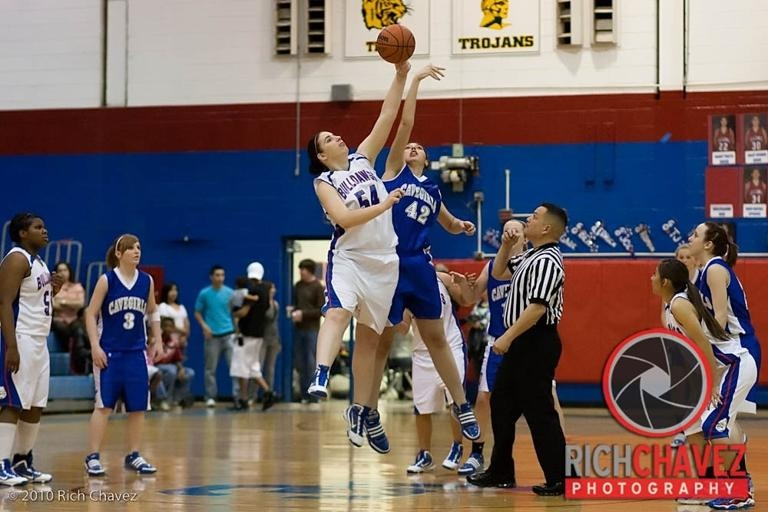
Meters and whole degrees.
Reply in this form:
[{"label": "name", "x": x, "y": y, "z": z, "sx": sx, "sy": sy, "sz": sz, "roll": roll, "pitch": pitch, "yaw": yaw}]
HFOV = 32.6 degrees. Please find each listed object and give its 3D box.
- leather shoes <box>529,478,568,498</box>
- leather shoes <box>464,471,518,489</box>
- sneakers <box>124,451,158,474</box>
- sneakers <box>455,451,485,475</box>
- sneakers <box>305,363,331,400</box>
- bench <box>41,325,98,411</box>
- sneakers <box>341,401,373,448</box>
[{"label": "leather shoes", "x": 1.968, "y": 2.753, "z": 15.582, "sx": 0.448, "sy": 0.204, "sz": 0.155, "roll": 3, "pitch": -3, "yaw": 2}, {"label": "leather shoes", "x": 1.305, "y": 2.692, "z": 15.905, "sx": 0.592, "sy": 0.274, "sz": 0.224, "roll": 8, "pitch": -8, "yaw": 2}, {"label": "sneakers", "x": -3.023, "y": 2.597, "z": 16.607, "sx": 0.490, "sy": 0.257, "sz": 0.203, "roll": 6, "pitch": 2, "yaw": 19}, {"label": "sneakers", "x": 1.118, "y": 2.597, "z": 16.387, "sx": 0.146, "sy": 0.187, "sz": 0.425, "roll": -4, "pitch": -11, "yaw": 27}, {"label": "sneakers", "x": -0.738, "y": 1.431, "z": 15.192, "sx": 0.241, "sy": 0.395, "sz": 0.254, "roll": -1, "pitch": -1, "yaw": -9}, {"label": "bench", "x": -5.040, "y": 1.800, "z": 21.297, "sx": 1.326, "sy": 1.488, "sz": 1.036, "roll": 2, "pitch": -6, "yaw": -10}, {"label": "sneakers", "x": -0.280, "y": 1.963, "z": 15.427, "sx": 0.275, "sy": 0.635, "sz": 0.204, "roll": -36, "pitch": -31, "yaw": 31}]
